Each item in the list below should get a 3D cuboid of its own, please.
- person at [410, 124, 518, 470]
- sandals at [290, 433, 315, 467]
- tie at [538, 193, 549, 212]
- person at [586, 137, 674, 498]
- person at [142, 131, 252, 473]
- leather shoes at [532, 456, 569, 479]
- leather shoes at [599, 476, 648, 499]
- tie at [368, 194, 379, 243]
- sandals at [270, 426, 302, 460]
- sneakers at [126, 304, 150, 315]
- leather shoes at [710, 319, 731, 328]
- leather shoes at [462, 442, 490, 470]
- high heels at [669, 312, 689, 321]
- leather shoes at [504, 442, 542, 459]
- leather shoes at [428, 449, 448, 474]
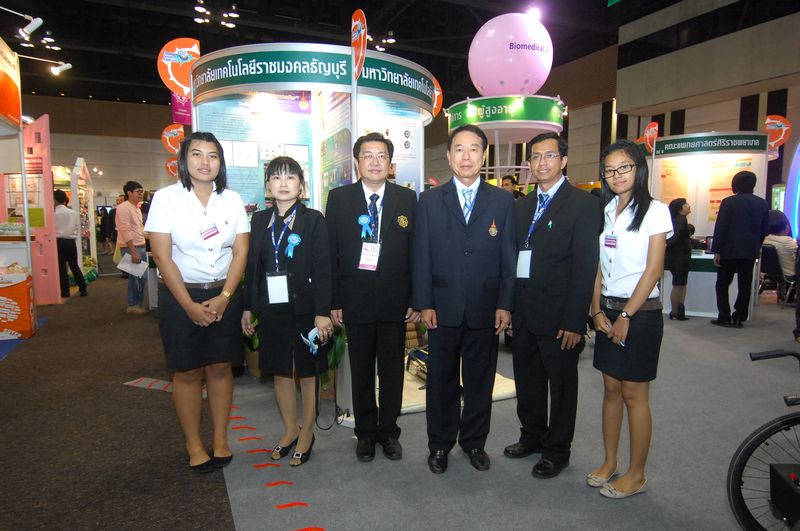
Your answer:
[{"bbox_3d":[0.512,0.264,4.144,0.795,2.653,0.528,-1,10,5],"label":"person"},{"bbox_3d":[-0.771,1.498,4.364,0.107,0.125,0.317,-1,5,12],"label":"sandals"},{"bbox_3d":[1.126,-0.492,4.176,0.031,0.130,0.078,19,-13,-42],"label":"tie"},{"bbox_3d":[1.651,0.393,3.965,0.620,2.583,0.537,-10,13,-38],"label":"person"},{"bbox_3d":[-1.501,0.283,4.170,0.748,2.599,0.404,-7,11,-26],"label":"person"},{"bbox_3d":[1.155,1.541,4.149,0.307,0.136,0.126,0,1,-33],"label":"leather shoes"},{"bbox_3d":[1.657,1.632,3.960,0.290,0.094,0.140,1,-2,-7],"label":"leather shoes"},{"bbox_3d":[-0.200,-0.382,4.253,0.074,0.365,0.112,-2,10,-2],"label":"tie"},{"bbox_3d":[-0.914,1.447,4.399,0.123,0.142,0.337,-3,11,28],"label":"sandals"},{"bbox_3d":[-4.074,0.700,8.357,0.382,0.165,0.130,1,4,-10],"label":"sneakers"},{"bbox_3d":[4.483,0.808,7.471,0.074,0.083,0.184,-2,10,-21],"label":"leather shoes"},{"bbox_3d":[0.592,1.508,4.262,0.110,0.112,0.283,0,6,-24],"label":"leather shoes"},{"bbox_3d":[4.098,0.740,7.819,0.224,0.091,0.113,2,2,16],"label":"high heels"},{"bbox_3d":[0.998,1.499,4.315,0.272,0.116,0.126,4,-2,-12],"label":"leather shoes"},{"bbox_3d":[0.300,1.529,4.185,0.106,0.074,0.187,1,9,0],"label":"leather shoes"}]
